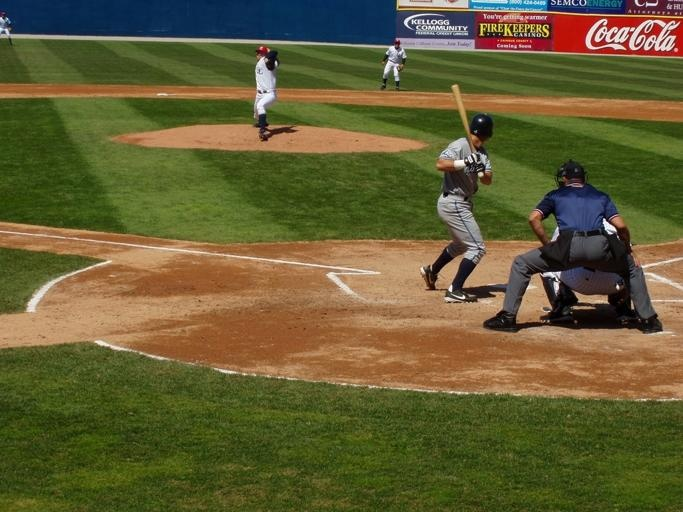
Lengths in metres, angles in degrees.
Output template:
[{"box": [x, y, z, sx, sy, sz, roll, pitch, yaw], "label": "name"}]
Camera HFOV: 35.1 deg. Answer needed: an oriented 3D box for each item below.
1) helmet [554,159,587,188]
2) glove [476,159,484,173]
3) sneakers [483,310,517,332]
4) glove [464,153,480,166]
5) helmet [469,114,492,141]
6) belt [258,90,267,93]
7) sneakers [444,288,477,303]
[{"box": [3.097, -1.117, 14.526, 0.551, 0.366, 0.487, 1, 14, 4], "label": "helmet"}, {"box": [1.925, -1.230, 14.884, 0.077, 0.194, 0.134, 10, 21, 28], "label": "glove"}, {"box": [2.123, 0.873, 14.173, 0.522, 0.214, 0.220, 5, 8, 26], "label": "sneakers"}, {"box": [1.818, -1.326, 14.919, 0.180, 0.170, 0.212, -4, 17, -12], "label": "glove"}, {"box": [1.991, -1.812, 15.288, 0.320, 0.387, 0.276, 0, 18, 1], "label": "helmet"}, {"box": [-1.847, -3.760, 24.698, 0.260, 0.070, 0.099, 13, 21, 43], "label": "belt"}, {"box": [1.751, 0.581, 15.472, 0.534, 0.156, 0.178, 0, 9, -5], "label": "sneakers"}]
